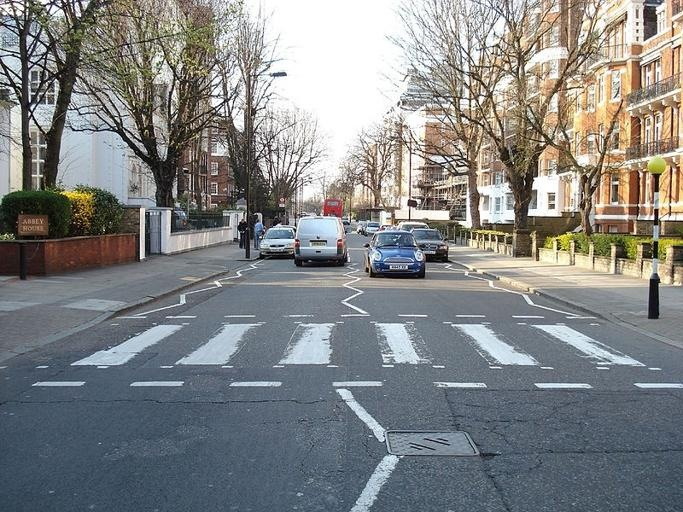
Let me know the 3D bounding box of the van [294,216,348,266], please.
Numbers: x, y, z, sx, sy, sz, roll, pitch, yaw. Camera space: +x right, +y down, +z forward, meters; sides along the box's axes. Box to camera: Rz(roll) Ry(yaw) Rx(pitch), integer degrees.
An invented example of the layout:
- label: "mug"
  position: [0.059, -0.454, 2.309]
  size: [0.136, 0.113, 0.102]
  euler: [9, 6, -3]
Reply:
- label: "van"
  position: [-0.998, -0.753, 27.709]
  size: [1.297, 1.392, 2.849]
  euler: [0, 6, 3]

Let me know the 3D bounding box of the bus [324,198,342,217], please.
- label: "bus"
  position: [-1.013, -6.142, 80.449]
  size: [2.044, 1.981, 3.165]
  euler: [1, 4, 5]

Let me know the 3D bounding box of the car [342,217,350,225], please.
- label: "car"
  position: [0.922, -6.675, 119.091]
  size: [1.406, 1.331, 3.328]
  euler: [0, 1, -2]

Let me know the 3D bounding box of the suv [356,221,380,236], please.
- label: "suv"
  position: [3.144, -3.254, 73.416]
  size: [1.500, 1.300, 3.561]
  euler: [0, 0, -9]

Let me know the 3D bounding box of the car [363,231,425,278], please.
- label: "car"
  position: [1.949, -0.112, 23.374]
  size: [1.909, 1.596, 2.195]
  euler: [0, 4, -3]
